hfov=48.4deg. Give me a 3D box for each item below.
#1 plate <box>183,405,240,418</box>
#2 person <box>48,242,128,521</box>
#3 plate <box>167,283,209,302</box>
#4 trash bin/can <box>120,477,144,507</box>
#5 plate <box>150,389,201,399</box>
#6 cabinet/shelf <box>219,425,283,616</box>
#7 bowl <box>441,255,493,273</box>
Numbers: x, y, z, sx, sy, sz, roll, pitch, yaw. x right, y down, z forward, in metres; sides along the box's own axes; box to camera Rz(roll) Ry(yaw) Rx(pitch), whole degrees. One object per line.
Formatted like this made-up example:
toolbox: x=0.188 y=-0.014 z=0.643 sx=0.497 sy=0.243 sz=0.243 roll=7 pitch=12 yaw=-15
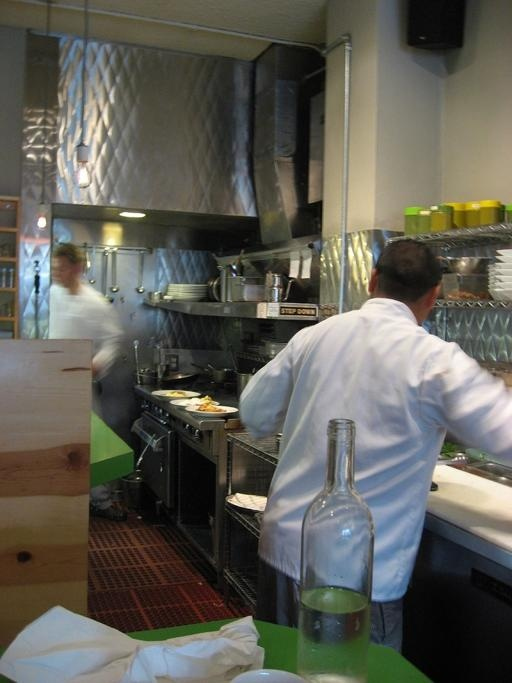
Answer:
plate: x=-0.274 y=0.444 z=3.558 sx=0.307 sy=0.052 sz=0.284 roll=2 pitch=1 yaw=-13
person: x=-1.548 y=-0.090 z=5.155 sx=0.632 sy=1.503 sz=0.487 roll=2 pitch=1 yaw=-14
plate: x=-0.645 y=-0.437 z=5.162 sx=0.236 sy=0.125 sz=0.463 roll=1 pitch=1 yaw=-44
trash bin/can: x=-1.011 y=1.255 z=4.772 sx=0.209 sy=0.220 sz=0.205 roll=-4 pitch=9 yaw=-42
plate: x=-0.652 y=0.417 z=4.384 sx=0.411 sy=0.048 sz=0.273 roll=2 pitch=1 yaw=26
cabinet/shelf: x=-0.013 y=0.892 z=3.054 sx=0.256 sy=0.548 sz=0.598 roll=-10 pitch=-1 yaw=-12
bowl: x=0.899 y=-0.319 z=2.464 sx=0.160 sy=0.066 sz=0.225 roll=1 pitch=-3 yaw=-7
